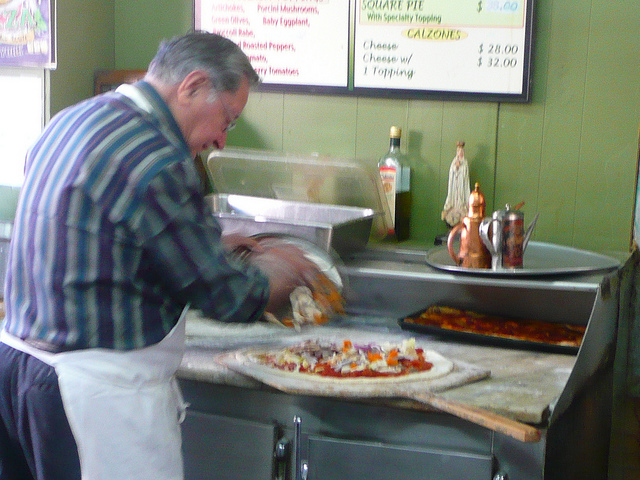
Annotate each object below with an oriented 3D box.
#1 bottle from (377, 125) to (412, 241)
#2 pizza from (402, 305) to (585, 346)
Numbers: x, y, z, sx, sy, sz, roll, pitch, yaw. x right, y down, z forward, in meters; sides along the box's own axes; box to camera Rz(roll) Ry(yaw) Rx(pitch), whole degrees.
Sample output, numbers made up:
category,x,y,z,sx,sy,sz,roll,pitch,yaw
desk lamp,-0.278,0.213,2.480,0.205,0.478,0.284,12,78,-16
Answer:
category,x,y,z,sx,sy,sz,roll,pitch,yaw
bottle,0.304,-0.228,2.746,0.109,0.546,0.129,1,4,8
pizza,0.563,0.276,2.155,0.564,0.053,0.124,5,16,19
